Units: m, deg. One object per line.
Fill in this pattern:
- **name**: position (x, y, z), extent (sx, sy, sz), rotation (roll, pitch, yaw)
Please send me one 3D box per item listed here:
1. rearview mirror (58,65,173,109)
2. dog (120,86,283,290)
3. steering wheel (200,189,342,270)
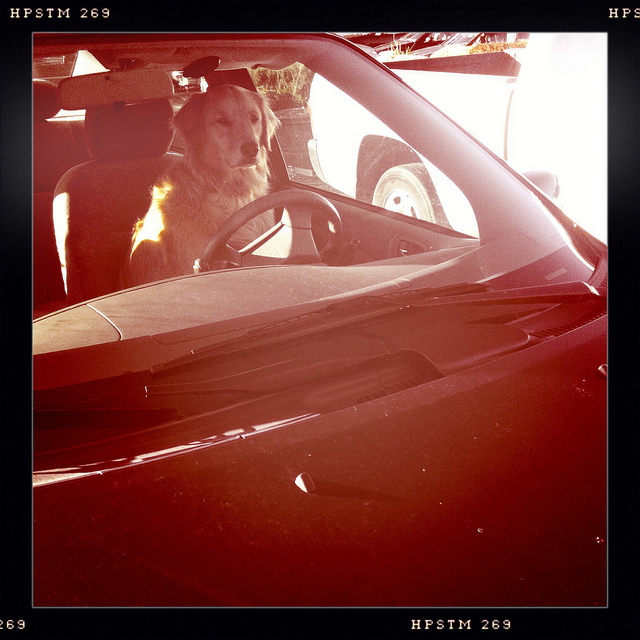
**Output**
- **rearview mirror**: position (-0.362, -0.400, 0.998), extent (0.206, 0.072, 0.035), rotation (-4, -16, -1)
- **dog**: position (-0.194, -0.214, 1.134), extent (0.319, 0.396, 0.265), rotation (-7, -3, 36)
- **steering wheel**: position (-0.088, -0.165, 1.012), extent (0.254, 0.134, 0.021), rotation (-3, -7, 0)
